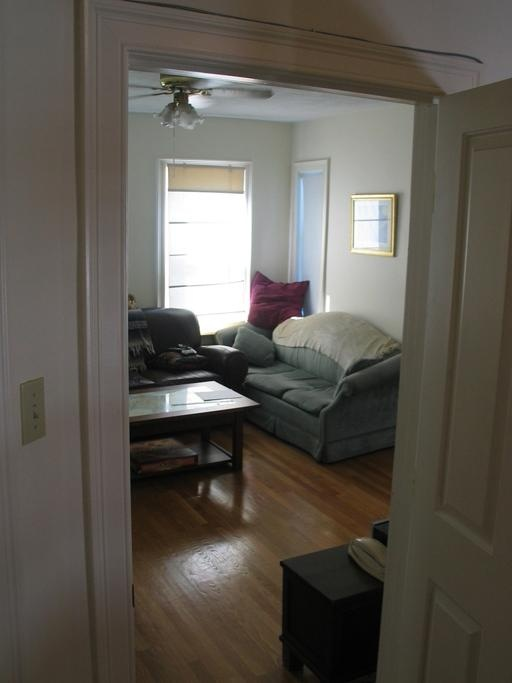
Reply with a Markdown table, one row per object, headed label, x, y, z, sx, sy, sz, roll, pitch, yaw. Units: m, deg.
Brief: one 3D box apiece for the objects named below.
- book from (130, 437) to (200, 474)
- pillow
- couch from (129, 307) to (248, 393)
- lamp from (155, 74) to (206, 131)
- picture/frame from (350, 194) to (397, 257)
| label | x | y | z | sx | sy | sz | roll | pitch | yaw |
| --- | --- | --- | --- | --- | --- | --- | --- | --- | --- |
| book | -0.638 | 0.764 | 3.670 | 0.456 | 0.119 | 0.397 | -3 | 11 | -20 |
| pillow | 0.518 | -0.106 | 4.850 | 0.762 | 0.839 | 1.260 | -20 | 26 | -34 |
| couch | -0.731 | 0.062 | 4.730 | 1.160 | 0.706 | 0.795 | -3 | 3 | -43 |
| lamp | -0.466 | -1.531 | 3.371 | 0.403 | 0.322 | 0.413 | 2 | 20 | 1 |
| picture/frame | 0.990 | -1.002 | 4.575 | 0.041 | 0.506 | 0.542 | -9 | 16 | -28 |
